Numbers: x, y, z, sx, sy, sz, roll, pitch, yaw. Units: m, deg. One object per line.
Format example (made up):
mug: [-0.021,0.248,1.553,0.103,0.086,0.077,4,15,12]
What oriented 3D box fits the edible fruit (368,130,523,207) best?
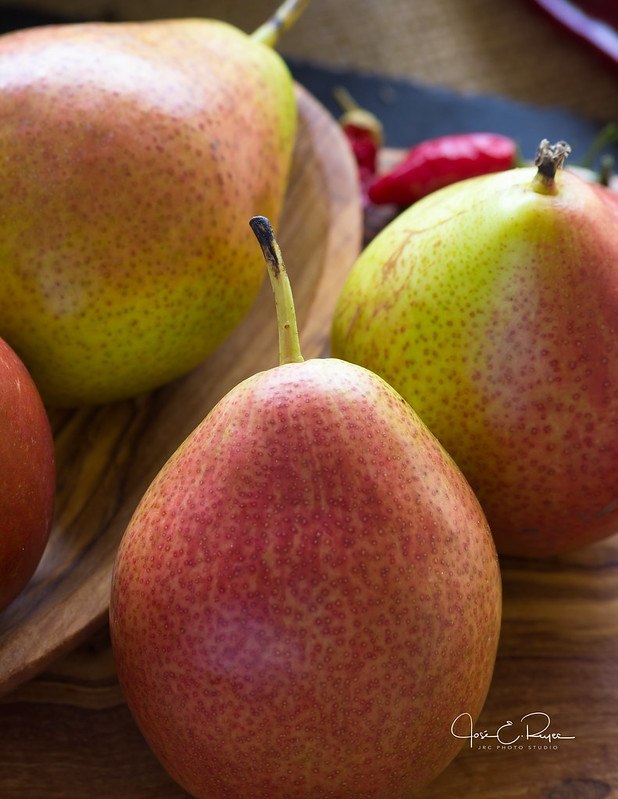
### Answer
edible fruit: [0.097,-0.144,0.695,0.094,0.052,0.032,-23,104,-2]
